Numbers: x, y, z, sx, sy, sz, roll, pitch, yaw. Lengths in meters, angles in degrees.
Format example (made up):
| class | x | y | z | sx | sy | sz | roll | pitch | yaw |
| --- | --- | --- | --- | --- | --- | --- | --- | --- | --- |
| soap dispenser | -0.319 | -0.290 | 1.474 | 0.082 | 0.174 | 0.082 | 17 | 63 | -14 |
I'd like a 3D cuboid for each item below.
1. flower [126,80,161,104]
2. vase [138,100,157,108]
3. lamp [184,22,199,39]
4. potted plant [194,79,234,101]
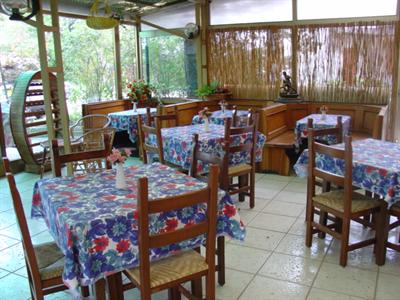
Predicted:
| class | x | y | z | sx | sy | sz | roll | pitch | yaw |
| --- | --- | --- | --- | --- | --- | --- | --- | --- | --- |
| flower | -1.265 | -1.290 | 7.104 | 0.844 | 0.625 | 0.750 | 2 | 18 | 0 |
| vase | -1.289 | -1.129 | 7.855 | 0.222 | 0.244 | 0.400 | 4 | 5 | 29 |
| lamp | -0.181 | -2.783 | 7.516 | 0.332 | 0.340 | 0.323 | -3 | 15 | 2 |
| potted plant | 0.368 | -1.391 | 7.647 | 0.666 | 0.266 | 0.621 | -3 | 9 | -19 |
